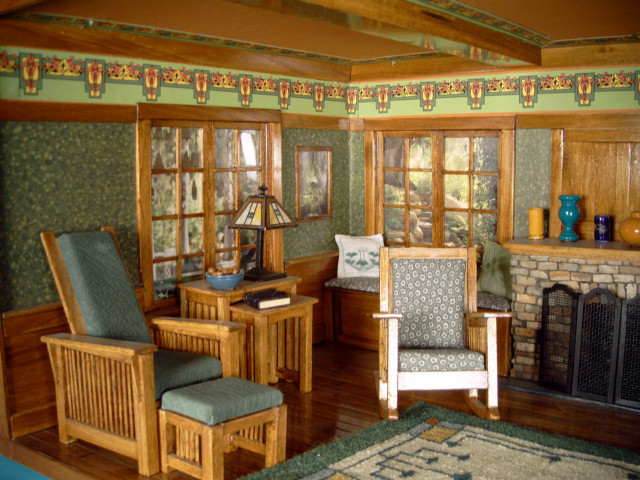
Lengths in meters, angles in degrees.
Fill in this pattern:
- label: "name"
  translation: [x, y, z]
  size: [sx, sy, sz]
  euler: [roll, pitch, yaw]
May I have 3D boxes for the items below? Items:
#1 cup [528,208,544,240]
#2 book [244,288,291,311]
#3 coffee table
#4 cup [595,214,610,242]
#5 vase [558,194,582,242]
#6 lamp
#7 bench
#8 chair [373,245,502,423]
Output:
- label: "cup"
  translation: [2.171, -0.164, 5.210]
  size: [0.130, 0.299, 0.164]
  euler: [1, 8, 15]
- label: "book"
  translation: [-0.459, 0.509, 4.568]
  size: [0.361, 0.142, 0.237]
  euler: [-6, 9, -35]
- label: "coffee table"
  translation: [-0.813, 0.343, 4.779]
  size: [0.452, 0.553, 0.723]
  euler: [8, 10, 43]
- label: "cup"
  translation: [2.717, -0.116, 5.016]
  size: [0.151, 0.254, 0.148]
  euler: [-1, 8, 0]
- label: "vase"
  translation: [2.458, -0.226, 5.115]
  size: [0.198, 0.448, 0.391]
  euler: [3, 9, 26]
- label: "lamp"
  translation: [-0.554, -0.064, 4.914]
  size: [0.709, 0.858, 0.662]
  euler: [3, 6, -7]
- label: "bench"
  translation: [0.928, 0.867, 5.716]
  size: [0.641, 0.815, 2.035]
  euler: [0, -3, -35]
- label: "chair"
  translation: [0.870, 0.708, 4.115]
  size: [1.079, 1.180, 1.094]
  euler: [1, -3, -13]
